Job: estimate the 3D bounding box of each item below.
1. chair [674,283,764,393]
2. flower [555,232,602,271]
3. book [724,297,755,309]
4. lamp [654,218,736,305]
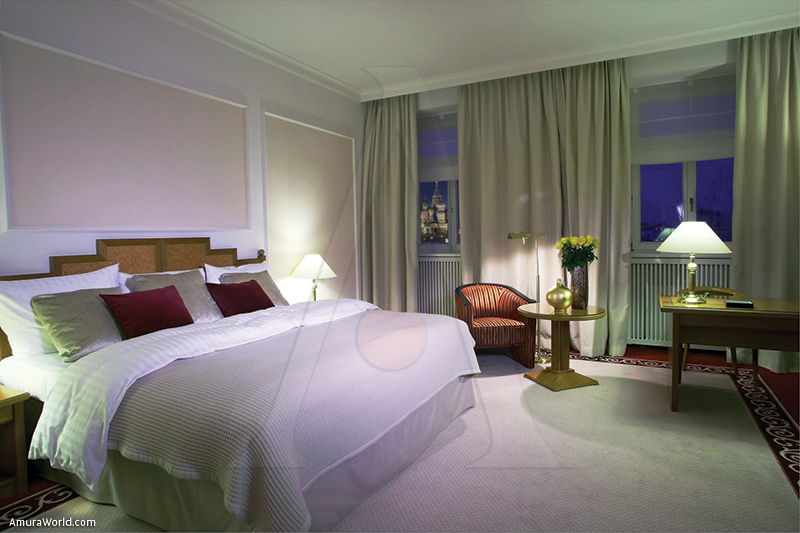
[{"bbox_3d":[2.971,0.623,5.095,0.701,0.811,0.686,-8,3,-7],"label":"chair"},{"bbox_3d":[1.882,-0.155,5.634,0.390,0.367,0.402,15,-19,-39],"label":"flower"},{"bbox_3d":[3.043,0.338,4.770,0.271,0.051,0.255,-4,6,17],"label":"book"},{"bbox_3d":[2.865,-0.028,5.513,0.914,1.065,0.905,1,6,27],"label":"lamp"}]
